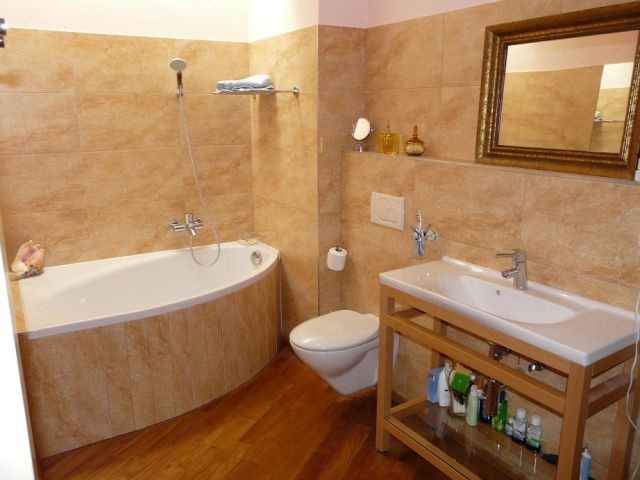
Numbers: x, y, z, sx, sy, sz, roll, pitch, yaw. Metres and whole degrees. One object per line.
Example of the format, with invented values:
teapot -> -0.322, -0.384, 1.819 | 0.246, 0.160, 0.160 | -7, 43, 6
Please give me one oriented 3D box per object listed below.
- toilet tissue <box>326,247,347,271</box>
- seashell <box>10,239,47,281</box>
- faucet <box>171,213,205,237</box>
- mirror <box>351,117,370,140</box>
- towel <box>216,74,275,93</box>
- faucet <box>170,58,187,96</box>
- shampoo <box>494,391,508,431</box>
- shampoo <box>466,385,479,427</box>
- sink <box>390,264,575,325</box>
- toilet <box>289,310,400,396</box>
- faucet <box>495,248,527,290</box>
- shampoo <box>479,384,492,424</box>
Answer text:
toilet tissue -> 0.115, 0.130, 3.326 | 0.146, 0.149, 0.137 | 0, 16, 4
seashell -> -2.016, 0.129, 3.286 | 0.273, 0.213, 0.098 | -51, 20, -7
faucet -> -1.032, -0.108, 3.727 | 0.267, 0.218, 0.225 | -8, 17, -21
mirror -> 0.274, -0.768, 3.246 | 0.117, 0.141, 0.172 | -2, 16, -1
towel -> -0.522, -1.127, 3.383 | 0.381, 0.136, 0.377 | -2, 16, -3
faucet -> -0.988, -1.173, 3.356 | 0.098, 0.277, 0.517 | -5, 16, -13
shampoo -> 0.823, 0.775, 2.144 | 0.055, 0.233, 0.043 | 6, 18, 23
shampoo -> 0.723, 0.781, 2.244 | 0.063, 0.234, 0.033 | 9, 20, 32
sink -> 0.768, 0.285, 2.296 | 0.258, 0.147, 0.554 | -12, 22, -39
toilet -> 0.134, 0.742, 3.037 | 0.653, 0.451, 0.492 | -15, 17, -35
faucet -> 0.923, 0.143, 2.267 | 0.175, 0.195, 0.079 | -6, 17, -17
shampoo -> 0.764, 0.759, 2.189 | 0.034, 0.227, 0.067 | -17, 23, -42
